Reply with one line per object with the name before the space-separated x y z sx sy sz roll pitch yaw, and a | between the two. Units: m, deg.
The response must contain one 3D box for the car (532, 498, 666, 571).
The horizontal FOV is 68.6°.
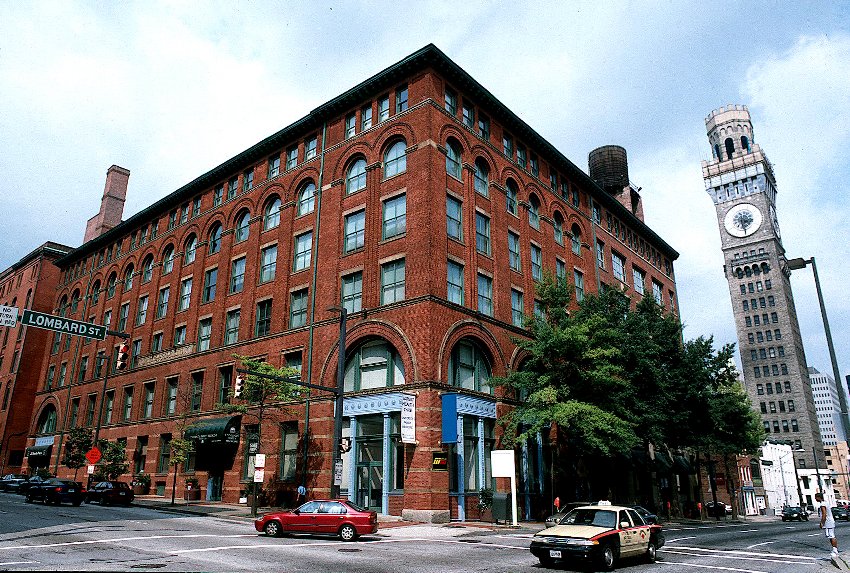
car | 7.888 11.474 28.797 6.355 2.852 2.189 16 -29 -31
